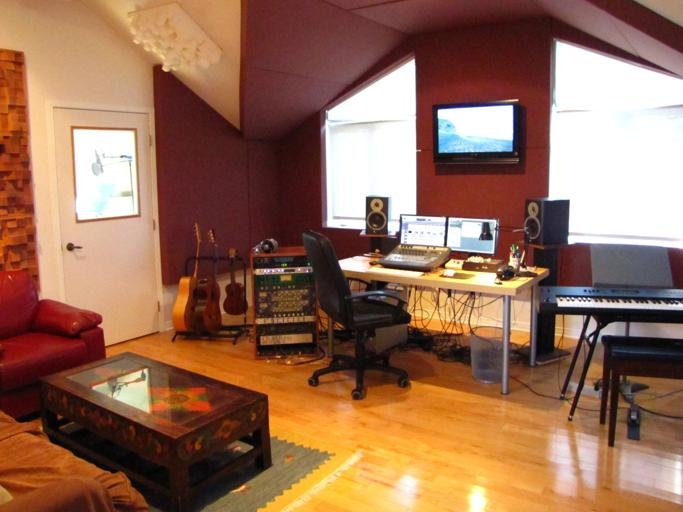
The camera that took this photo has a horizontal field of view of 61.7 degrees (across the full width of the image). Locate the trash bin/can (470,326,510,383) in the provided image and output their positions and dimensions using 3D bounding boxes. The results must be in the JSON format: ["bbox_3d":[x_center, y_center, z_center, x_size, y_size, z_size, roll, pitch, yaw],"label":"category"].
[{"bbox_3d":[1.327,0.914,5.273,0.475,0.473,0.366,-1,5,3],"label":"trash bin/can"}]

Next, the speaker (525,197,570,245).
[{"bbox_3d":[1.890,-0.329,5.238,0.419,0.528,0.366,3,12,22],"label":"speaker"}]

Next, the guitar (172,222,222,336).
[{"bbox_3d":[-1.571,0.252,6.232,0.503,1.186,0.615,-2,6,-14],"label":"guitar"}]

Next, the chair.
[{"bbox_3d":[0.165,0.448,5.102,0.880,1.383,1.068,0,6,5],"label":"chair"}]
